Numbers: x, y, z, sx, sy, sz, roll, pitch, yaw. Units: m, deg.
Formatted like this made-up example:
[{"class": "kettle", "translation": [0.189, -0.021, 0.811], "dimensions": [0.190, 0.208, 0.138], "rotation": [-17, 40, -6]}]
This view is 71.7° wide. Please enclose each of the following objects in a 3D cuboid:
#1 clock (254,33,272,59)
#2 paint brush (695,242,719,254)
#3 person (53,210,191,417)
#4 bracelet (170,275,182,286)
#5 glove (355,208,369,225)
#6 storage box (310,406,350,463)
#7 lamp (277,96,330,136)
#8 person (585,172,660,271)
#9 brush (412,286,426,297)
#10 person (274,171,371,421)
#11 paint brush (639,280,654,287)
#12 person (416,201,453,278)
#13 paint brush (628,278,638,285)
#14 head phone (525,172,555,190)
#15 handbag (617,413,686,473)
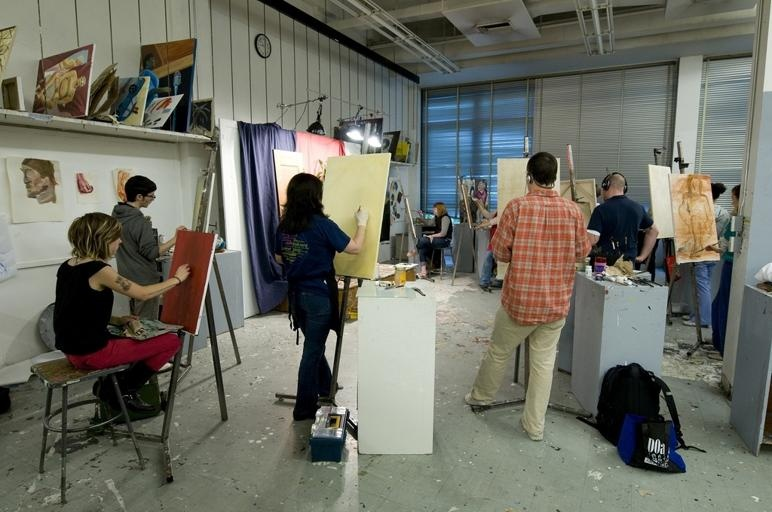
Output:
[{"class": "clock", "translation": [-1.797, -3.081, 7.862], "dimensions": [0.034, 0.371, 0.386], "rotation": [4, 9, 24]}, {"class": "paint brush", "translation": [3.681, -0.093, 6.111], "dimensions": [0.177, 0.090, 0.124], "rotation": [-2, 1, -7]}, {"class": "person", "translation": [-2.266, 0.441, 4.503], "dimensions": [0.888, 1.595, 0.395], "rotation": [-4, 9, -32]}, {"class": "bracelet", "translation": [-1.784, 0.205, 4.567], "dimensions": [0.032, 0.080, 0.069], "rotation": [-14, 34, -22]}, {"class": "glove", "translation": [-0.215, -0.347, 4.709], "dimensions": [0.103, 0.138, 0.053], "rotation": [1, -8, 14]}, {"class": "storage box", "translation": [-0.473, 1.493, 4.588], "dimensions": [0.319, 0.252, 0.522], "rotation": [0, 11, -1]}, {"class": "lamp", "translation": [-1.263, -2.302, 8.561], "dimensions": [0.929, 0.531, 0.658], "rotation": [-4, 22, -11]}, {"class": "person", "translation": [2.542, -0.389, 5.853], "dimensions": [0.456, 1.006, 1.065], "rotation": [7, 10, 40]}, {"class": "brush", "translation": [0.286, 0.305, 4.588], "dimensions": [0.039, 0.050, 0.185], "rotation": [22, 9, -40]}, {"class": "person", "translation": [-0.602, 0.387, 4.870], "dimensions": [0.773, 2.252, 0.434], "rotation": [-1, 8, -9]}, {"class": "paint brush", "translation": [2.344, 0.247, 4.843], "dimensions": [0.114, 0.033, 0.182], "rotation": [3, 8, 17]}, {"class": "person", "translation": [0.880, -0.326, 9.821], "dimensions": [0.597, 1.296, 0.816], "rotation": [3, 8, 18]}, {"class": "paint brush", "translation": [2.243, 0.232, 4.881], "dimensions": [0.069, 0.019, 0.071], "rotation": [-2, 10, 9]}, {"class": "head phone", "translation": [1.344, -0.644, 4.740], "dimensions": [0.146, 0.190, 0.111], "rotation": [3, 6, 0]}, {"class": "handbag", "translation": [2.166, 1.564, 4.413], "dimensions": [0.453, 0.428, 0.465], "rotation": [1, 1, 19]}]
